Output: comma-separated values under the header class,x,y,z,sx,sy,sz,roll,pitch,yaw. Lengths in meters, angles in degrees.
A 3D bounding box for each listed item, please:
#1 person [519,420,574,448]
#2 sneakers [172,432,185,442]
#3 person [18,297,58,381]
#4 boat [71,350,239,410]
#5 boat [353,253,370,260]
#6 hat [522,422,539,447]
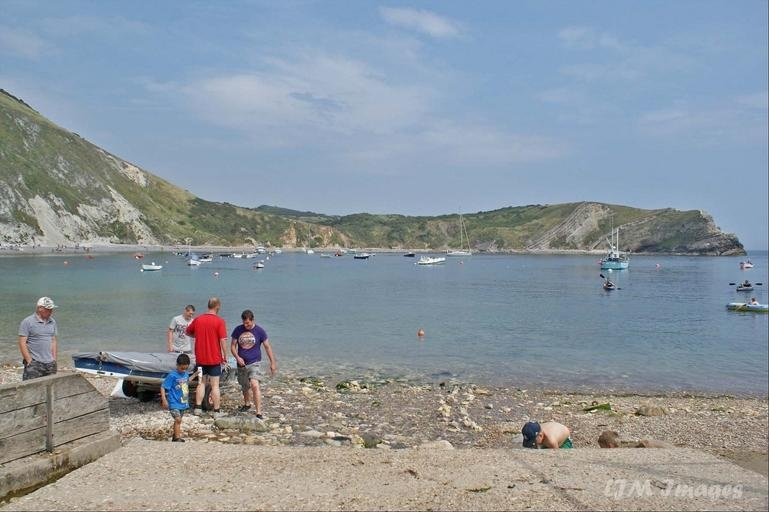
class,x,y,z,sx,sy,sz,roll,pitch,yaw
person,5.078,5.552,20.588,1.315,0.447,0.868,7,-8,-15
sneakers,-6.571,5.695,20.856,0.576,0.191,0.219,4,1,6
person,-10.848,2.566,20.771,1.002,2.554,0.954,0,4,-20
boat,-8.484,4.639,24.201,4.649,1.163,2.645,9,-9,-41
boat,-7.382,-0.097,216.715,2.427,2.260,7.276,-2,-3,-18
hat,4.575,5.555,20.600,0.518,0.648,0.596,2,3,23
